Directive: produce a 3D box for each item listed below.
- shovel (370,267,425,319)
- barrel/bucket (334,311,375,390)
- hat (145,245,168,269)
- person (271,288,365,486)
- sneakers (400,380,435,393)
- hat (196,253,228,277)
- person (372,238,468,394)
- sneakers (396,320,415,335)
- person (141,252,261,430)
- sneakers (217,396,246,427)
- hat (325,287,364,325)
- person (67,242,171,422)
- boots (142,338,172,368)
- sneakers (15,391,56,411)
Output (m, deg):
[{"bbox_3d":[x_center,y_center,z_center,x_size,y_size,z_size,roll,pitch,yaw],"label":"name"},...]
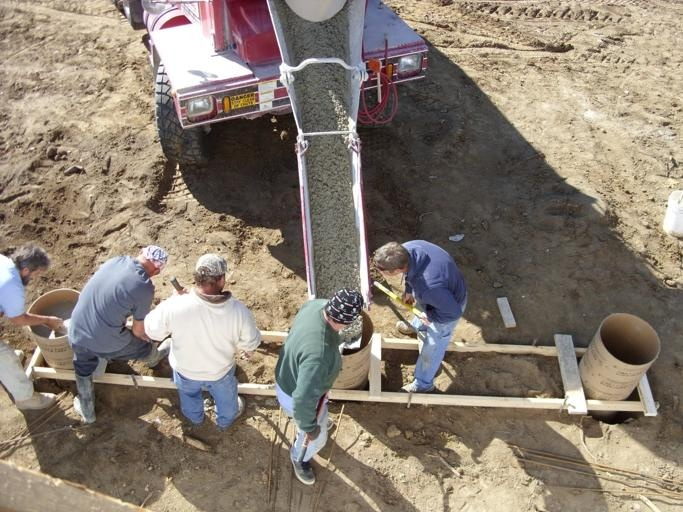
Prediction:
[{"bbox_3d":[0.606,0.435,7.466,0.120,1.130,0.123,-35,51,12],"label":"shovel"},{"bbox_3d":[0.159,1.048,7.293,0.692,0.784,0.715,1,60,-1],"label":"barrel/bucket"},{"bbox_3d":[-1.903,0.022,6.883,0.192,0.197,0.146,-18,14,35],"label":"hat"},{"bbox_3d":[-0.202,1.319,6.478,0.746,2.220,0.673,-14,27,-23],"label":"person"},{"bbox_3d":[0.808,1.439,7.336,0.377,0.177,0.145,3,58,4],"label":"sneakers"},{"bbox_3d":[-1.221,0.089,6.224,0.268,0.180,0.206,-12,27,-19],"label":"hat"},{"bbox_3d":[0.821,0.728,7.256,0.638,1.510,0.702,-5,59,9],"label":"person"},{"bbox_3d":[0.737,0.841,7.857,0.181,0.063,0.136,40,51,3],"label":"sneakers"},{"bbox_3d":[-1.428,0.962,6.811,1.136,2.160,0.751,1,38,-11],"label":"person"},{"bbox_3d":[-1.170,1.629,7.035,0.127,0.163,0.388,21,59,11],"label":"sneakers"},{"bbox_3d":[0.008,0.465,6.056,0.343,0.329,0.210,-3,25,-2],"label":"hat"},{"bbox_3d":[-2.300,0.775,7.260,0.715,1.856,1.316,31,30,32],"label":"person"},{"bbox_3d":[-2.031,1.059,7.343,0.163,0.333,0.349,22,64,1],"label":"boots"},{"bbox_3d":[-3.303,1.578,7.274,0.375,0.168,0.176,-10,48,-14],"label":"sneakers"}]
